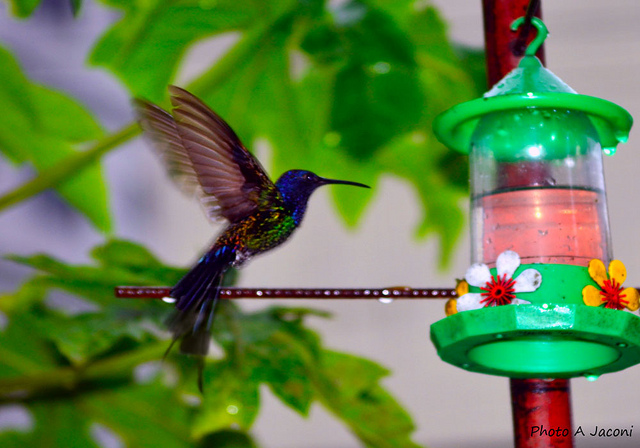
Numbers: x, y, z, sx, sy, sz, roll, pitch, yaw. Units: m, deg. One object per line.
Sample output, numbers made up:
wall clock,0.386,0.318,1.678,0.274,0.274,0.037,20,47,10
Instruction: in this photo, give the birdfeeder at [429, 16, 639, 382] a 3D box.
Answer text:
birdfeeder,0.742,-0.097,2.816,0.722,1.243,0.568,3,-4,6

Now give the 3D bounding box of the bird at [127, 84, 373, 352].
bird,-0.397,0.003,3.356,0.758,1.043,0.290,6,-4,-29
